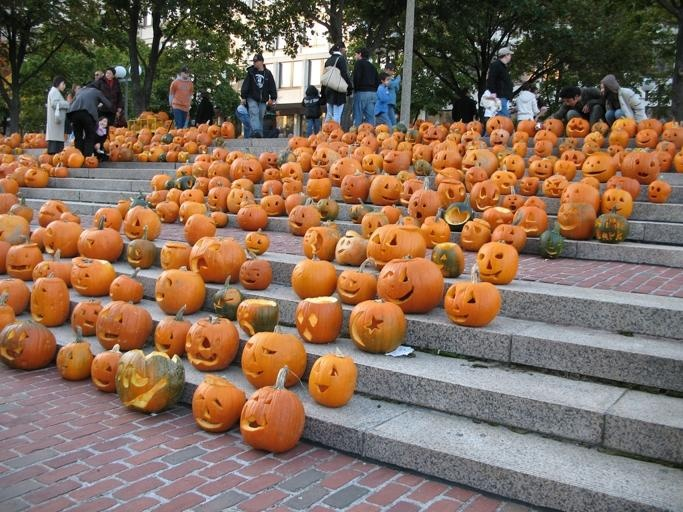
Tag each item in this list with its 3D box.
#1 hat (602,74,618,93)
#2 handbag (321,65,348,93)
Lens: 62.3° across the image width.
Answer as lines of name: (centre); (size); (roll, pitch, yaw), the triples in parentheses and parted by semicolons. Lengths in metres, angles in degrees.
hat: (5.512, -3.509, 11.608); (0.417, 0.425, 0.416); (12, 16, 26)
handbag: (-0.152, -4.141, 13.161); (0.543, 0.551, 0.304); (19, 17, -5)
